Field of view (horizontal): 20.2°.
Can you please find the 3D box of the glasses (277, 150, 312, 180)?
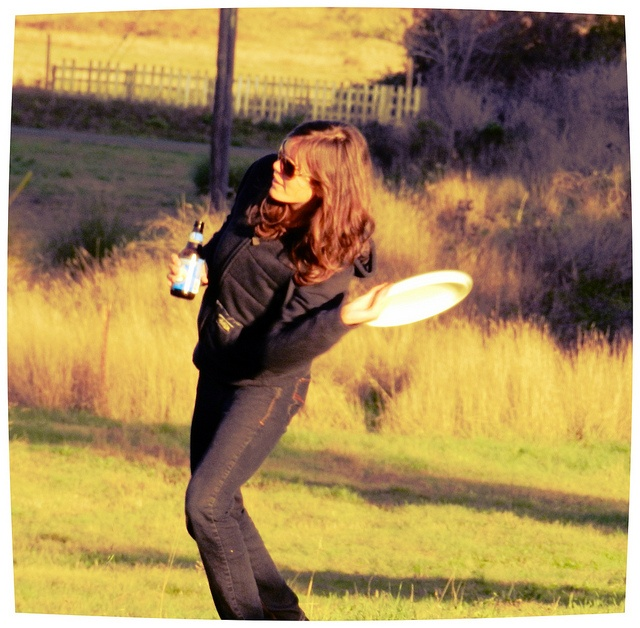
[{"bbox_3d":[-0.207,-1.071,12.953,0.165,0.073,0.210,45,8,26],"label":"glasses"}]
